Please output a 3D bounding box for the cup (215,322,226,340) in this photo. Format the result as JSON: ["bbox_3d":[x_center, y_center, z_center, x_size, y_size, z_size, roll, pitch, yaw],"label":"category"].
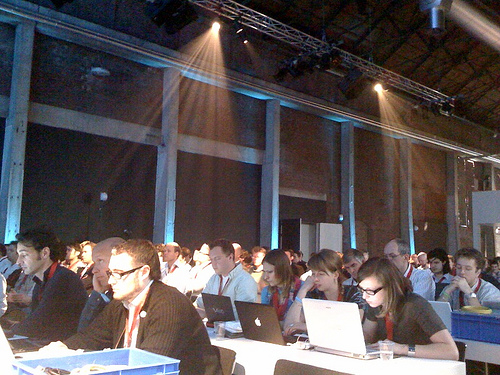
[{"bbox_3d":[-0.249,1.182,3.262,0.115,0.123,0.106,2,-10,0],"label":"cup"}]

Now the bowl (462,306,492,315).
[{"bbox_3d":[2.050,1.115,3.583,0.225,0.057,0.406,-5,-14,27],"label":"bowl"}]

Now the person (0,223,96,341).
[{"bbox_3d":[-2.045,0.944,3.944,0.856,1.387,0.636,9,-29,-27],"label":"person"}]

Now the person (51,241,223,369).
[{"bbox_3d":[-0.729,0.713,2.629,0.857,1.124,0.844,10,-20,-40],"label":"person"}]

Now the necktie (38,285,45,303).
[{"bbox_3d":[-1.755,0.886,3.315,0.031,0.119,0.123,8,14,-14],"label":"necktie"}]

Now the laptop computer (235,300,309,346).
[{"bbox_3d":[0.195,1.058,3.291,0.429,0.274,0.405,10,-14,-43],"label":"laptop computer"}]

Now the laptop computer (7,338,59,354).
[{"bbox_3d":[-1.563,1.097,2.762,0.192,0.044,0.203,1,-10,-2],"label":"laptop computer"}]

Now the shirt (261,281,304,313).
[{"bbox_3d":[0.390,1.067,3.955,0.339,0.128,0.256,-13,-60,31],"label":"shirt"}]

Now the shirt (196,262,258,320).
[{"bbox_3d":[-0.220,1.225,4.606,0.465,0.681,0.881,9,-12,-41],"label":"shirt"}]

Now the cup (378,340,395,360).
[{"bbox_3d":[0.938,1.101,2.683,0.157,0.121,0.072,10,-16,-34],"label":"cup"}]

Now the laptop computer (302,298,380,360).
[{"bbox_3d":[0.676,0.962,2.861,0.452,0.337,0.392,-10,-8,41],"label":"laptop computer"}]

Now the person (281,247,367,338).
[{"bbox_3d":[0.634,0.914,3.399,0.447,0.802,0.524,28,-39,-16],"label":"person"}]

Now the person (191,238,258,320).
[{"bbox_3d":[-0.274,1.096,4.584,0.571,0.963,1.018,5,-13,-37],"label":"person"}]

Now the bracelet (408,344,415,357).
[{"bbox_3d":[1.111,1.121,2.722,0.049,0.070,0.072,3,6,15],"label":"bracelet"}]

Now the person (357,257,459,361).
[{"bbox_3d":[1.243,0.970,3.137,0.480,0.826,0.565,-20,-19,-12],"label":"person"}]

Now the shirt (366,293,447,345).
[{"bbox_3d":[1.104,1.019,2.896,0.599,0.452,0.297,-18,-31,37],"label":"shirt"}]
